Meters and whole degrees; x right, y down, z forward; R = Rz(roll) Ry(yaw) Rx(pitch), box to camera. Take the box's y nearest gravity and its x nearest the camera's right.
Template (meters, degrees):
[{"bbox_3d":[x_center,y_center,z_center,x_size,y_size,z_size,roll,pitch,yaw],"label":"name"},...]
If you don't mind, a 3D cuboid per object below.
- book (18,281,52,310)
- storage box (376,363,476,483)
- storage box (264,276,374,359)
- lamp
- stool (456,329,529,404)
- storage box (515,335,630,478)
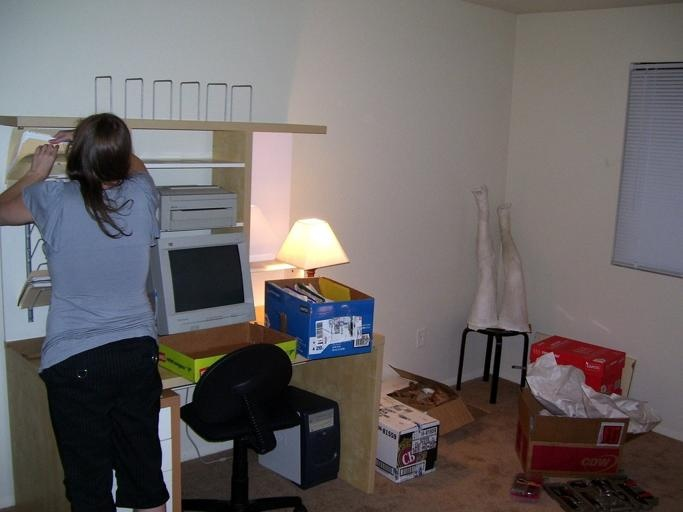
[{"bbox_3d":[-1.508,0.198,2.625,0.161,0.040,0.169,-10,-30,-25],"label":"book"},{"bbox_3d":[0.481,1.129,3.688,0.620,0.423,0.649,-3,11,-41],"label":"storage box"},{"bbox_3d":[-0.150,0.327,3.073,0.494,0.333,0.513,-4,19,-31],"label":"storage box"},{"bbox_3d":[-0.183,-0.116,3.454,0.357,0.434,0.371,12,13,41],"label":"lamp"},{"bbox_3d":[1.304,0.834,4.717,0.602,0.775,0.624,-1,8,-7],"label":"stool"},{"bbox_3d":[1.464,1.093,3.633,0.504,0.345,0.542,1,10,5],"label":"storage box"}]
